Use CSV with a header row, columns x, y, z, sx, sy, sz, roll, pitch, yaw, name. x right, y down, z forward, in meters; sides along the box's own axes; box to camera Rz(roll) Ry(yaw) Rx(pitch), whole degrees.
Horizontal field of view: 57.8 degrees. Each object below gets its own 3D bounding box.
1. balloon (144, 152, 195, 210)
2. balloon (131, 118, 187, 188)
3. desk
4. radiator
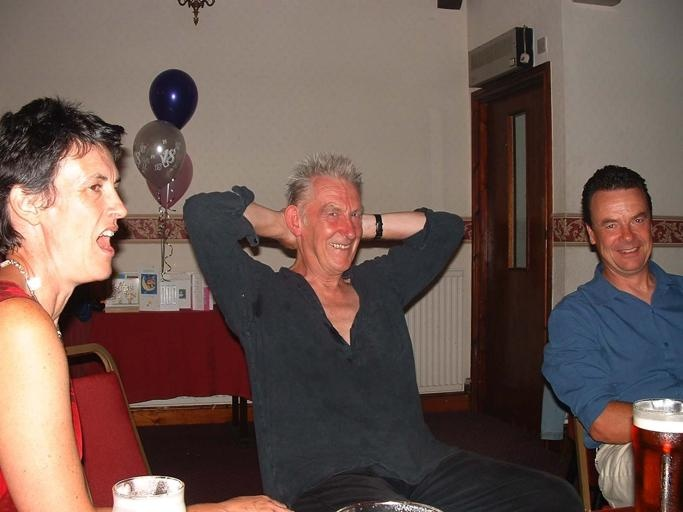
x,y,z,sx,sy,sz,roll,pitch,yaw,name
-1.306,-0.554,4.847,0.325,0.460,0.130,-2,2,19,balloon
-1.238,-0.722,4.419,0.371,0.535,0.396,5,7,1,balloon
-1.395,0.787,4.231,1.034,0.748,1.004,0,4,-43,desk
0.800,0.632,5.341,0.633,1.010,0.250,1,-3,-17,radiator
